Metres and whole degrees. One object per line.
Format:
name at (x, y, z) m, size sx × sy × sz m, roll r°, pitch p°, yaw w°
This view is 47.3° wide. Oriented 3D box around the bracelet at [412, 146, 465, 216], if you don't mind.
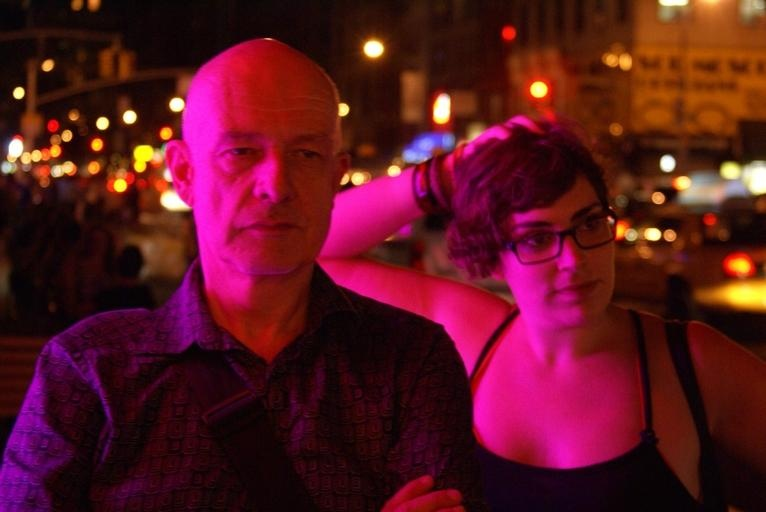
bracelet at (0.289, -0.354, 4.469) m, size 0.234 × 0.350 × 0.122 m, roll -11°, pitch -38°, yaw 39°
